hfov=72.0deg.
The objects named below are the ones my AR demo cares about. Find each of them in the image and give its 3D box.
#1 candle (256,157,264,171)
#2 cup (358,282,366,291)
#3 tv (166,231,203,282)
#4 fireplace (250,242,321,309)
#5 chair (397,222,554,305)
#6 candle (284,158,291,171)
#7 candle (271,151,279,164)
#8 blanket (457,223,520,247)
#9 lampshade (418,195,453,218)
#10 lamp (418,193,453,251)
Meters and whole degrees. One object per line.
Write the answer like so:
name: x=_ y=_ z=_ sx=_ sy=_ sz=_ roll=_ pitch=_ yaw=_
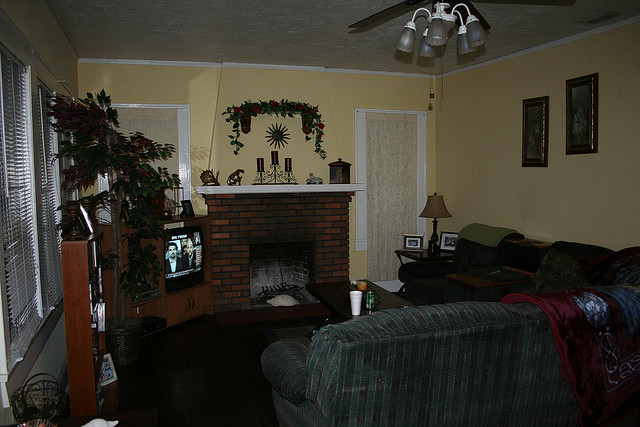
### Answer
candle: x=-0.817 y=-0.655 z=5.927 sx=0.078 sy=0.163 sz=0.077 roll=-2 pitch=11 yaw=-7
cup: x=0.434 y=0.763 z=4.655 sx=0.079 sy=0.078 sz=0.149 roll=0 pitch=11 yaw=2
tv: x=-1.723 y=0.529 z=5.479 sx=0.069 sy=0.592 sz=0.639 roll=3 pitch=5 yaw=34
fireplace: x=-0.606 y=0.855 z=6.734 sx=1.196 sy=1.107 sz=0.828 roll=-1 pitch=1 yaw=-14
chair: x=1.898 y=0.802 z=5.534 sx=1.208 sy=1.209 sz=2.002 roll=-3 pitch=4 yaw=-5
candle: x=-0.457 y=-0.681 z=6.139 sx=0.073 sy=0.170 sz=0.215 roll=1 pitch=11 yaw=7
candle: x=-0.642 y=-0.776 z=6.104 sx=0.091 sy=0.166 sz=0.202 roll=-2 pitch=11 yaw=-7
blanket: x=2.218 y=0.285 z=5.752 sx=0.512 sy=0.267 sz=0.622 roll=2 pitch=5 yaw=-20
lampshade: x=1.659 y=-0.075 z=6.416 sx=0.353 sy=0.234 sz=0.353 roll=0 pitch=-1 yaw=0
lamp: x=1.688 y=0.100 z=6.476 sx=0.462 sy=0.809 sz=0.454 roll=2 pitch=8 yaw=20
